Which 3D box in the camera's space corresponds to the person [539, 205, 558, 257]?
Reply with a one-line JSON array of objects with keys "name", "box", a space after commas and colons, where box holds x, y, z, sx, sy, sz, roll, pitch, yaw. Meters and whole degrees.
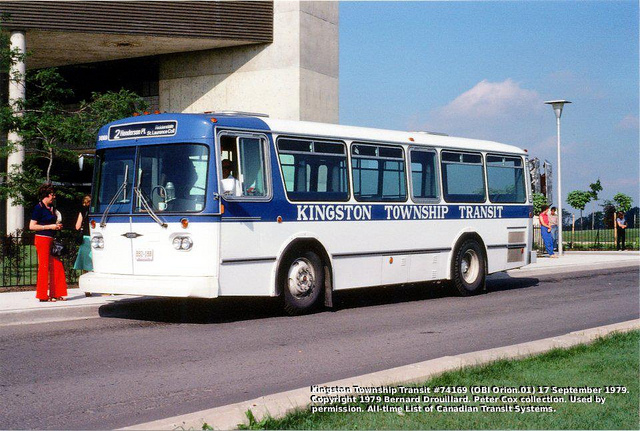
[{"name": "person", "box": [10.225, 0.686, 28.644, 0.653, 2.332, 1.285, -2, -2, 24]}]

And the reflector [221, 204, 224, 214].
[{"name": "reflector", "box": [-1.862, -0.130, 12.226, 0.016, 0.155, 0.076, -3, -2, 35]}]

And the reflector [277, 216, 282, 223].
[{"name": "reflector", "box": [-0.821, 0.084, 13.085, 0.021, 0.128, 0.118, -3, -2, 38]}]

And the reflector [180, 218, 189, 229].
[{"name": "reflector", "box": [-2.573, 0.149, 12.206, 0.160, 0.192, 0.031, -2, -2, 26]}]

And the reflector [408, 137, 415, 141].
[{"name": "reflector", "box": [2.295, -1.887, 15.923, 0.049, 0.094, 0.198, -3, -2, 40]}]

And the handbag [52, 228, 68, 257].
[{"name": "handbag", "box": [-5.819, 0.722, 14.303, 0.298, 0.379, 0.492, -1, -2, -23]}]

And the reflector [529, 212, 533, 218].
[{"name": "reflector", "box": [6.187, -0.017, 18.755, 0.037, 0.166, 0.248, -2, -2, 27]}]

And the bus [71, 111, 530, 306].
[{"name": "bus", "box": [0.602, -0.044, 17.143, 3.973, 4.355, 12.726, -2, -1, 44]}]

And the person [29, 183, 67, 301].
[{"name": "person", "box": [-6.081, 0.604, 14.315, 0.652, 2.628, 0.706, -2, -2, 10]}]
